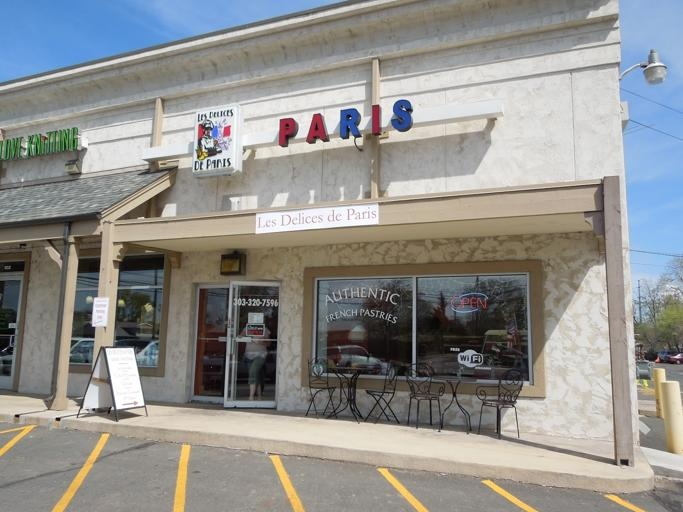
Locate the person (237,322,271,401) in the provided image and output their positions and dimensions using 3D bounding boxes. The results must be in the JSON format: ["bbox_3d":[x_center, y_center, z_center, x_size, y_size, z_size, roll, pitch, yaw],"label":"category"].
[{"bbox_3d":[-1.893,2.348,12.418,0.542,1.585,0.185,1,1,-10],"label":"person"}]

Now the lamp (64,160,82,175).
[{"bbox_3d":[-7.026,-2.297,14.575,0.362,0.396,0.207,-3,-6,13],"label":"lamp"}]
